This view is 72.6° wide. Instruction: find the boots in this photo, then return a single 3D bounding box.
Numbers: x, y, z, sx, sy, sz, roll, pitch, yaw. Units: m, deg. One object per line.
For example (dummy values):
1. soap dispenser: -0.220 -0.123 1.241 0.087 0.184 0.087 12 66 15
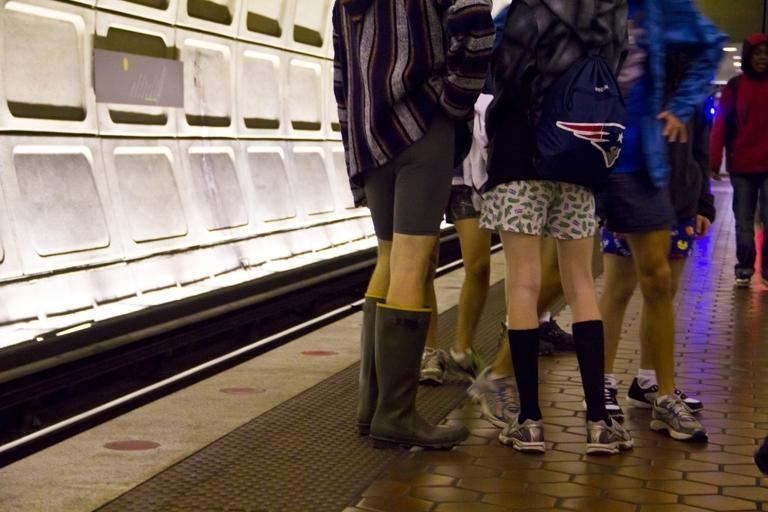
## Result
1. boots: 0.176 0.598 3.207 0.791 0.961 0.716 -4 7 -22
